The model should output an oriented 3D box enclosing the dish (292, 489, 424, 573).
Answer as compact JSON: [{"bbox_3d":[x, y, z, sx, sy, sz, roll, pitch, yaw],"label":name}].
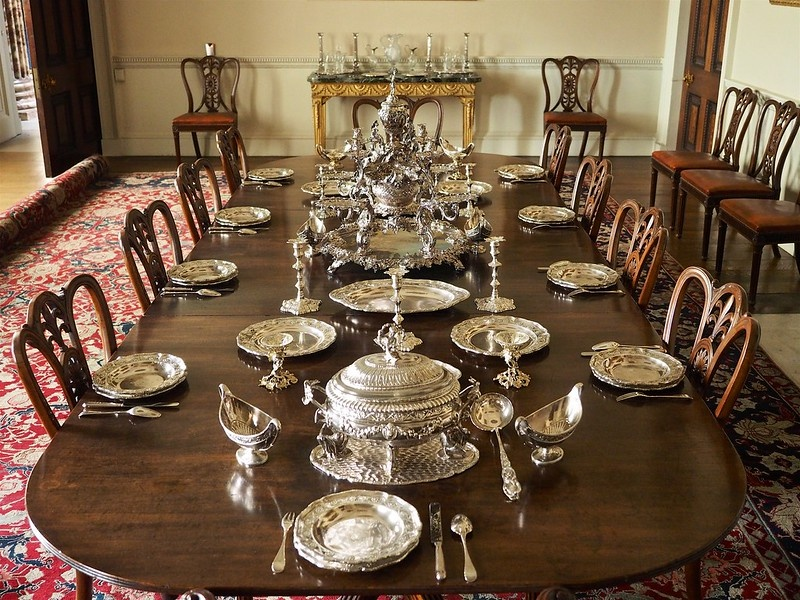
[{"bbox_3d":[-0.085,0.455,1.224,0.250,0.032,0.202,0,22,-1],"label":"dish"}]

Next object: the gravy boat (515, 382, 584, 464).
[{"bbox_3d":[0.353,0.299,1.435,0.232,0.133,0.130,-19,24,-37],"label":"gravy boat"}]

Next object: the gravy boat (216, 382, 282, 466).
[{"bbox_3d":[-0.374,0.310,1.495,0.095,0.101,0.167,-24,41,-39],"label":"gravy boat"}]

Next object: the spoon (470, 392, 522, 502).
[{"bbox_3d":[0.242,0.347,1.451,0.121,0.047,0.343,-15,26,5],"label":"spoon"}]

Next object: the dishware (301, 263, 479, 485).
[{"bbox_3d":[-0.018,0.191,1.474,0.406,0.341,0.378,1,7,30],"label":"dishware"}]
